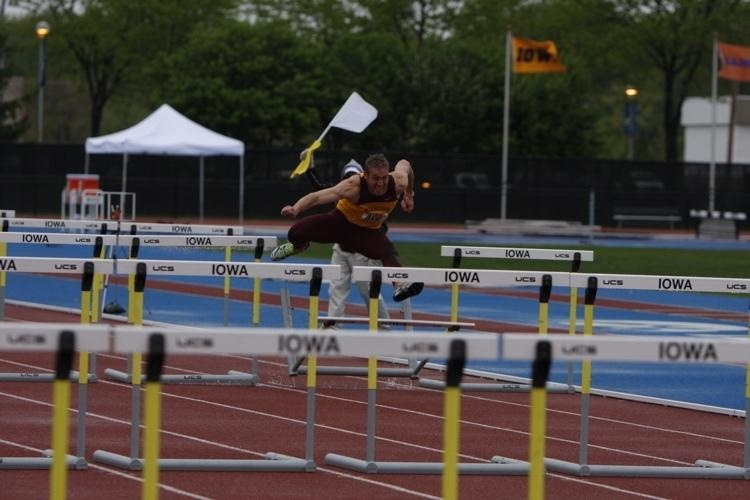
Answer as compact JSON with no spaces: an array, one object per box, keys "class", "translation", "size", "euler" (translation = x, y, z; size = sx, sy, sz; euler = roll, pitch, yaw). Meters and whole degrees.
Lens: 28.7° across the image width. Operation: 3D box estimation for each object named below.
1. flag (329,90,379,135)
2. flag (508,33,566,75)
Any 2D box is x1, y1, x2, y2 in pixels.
[{"class":"flag","translation":[-0.489,-3.443,36.817],"size":[1.028,1.011,1.603],"euler":[2,1,3]},{"class":"flag","translation":[5.789,-7.010,52.906],"size":[1.666,1.183,0.502],"euler":[2,1,3]}]
